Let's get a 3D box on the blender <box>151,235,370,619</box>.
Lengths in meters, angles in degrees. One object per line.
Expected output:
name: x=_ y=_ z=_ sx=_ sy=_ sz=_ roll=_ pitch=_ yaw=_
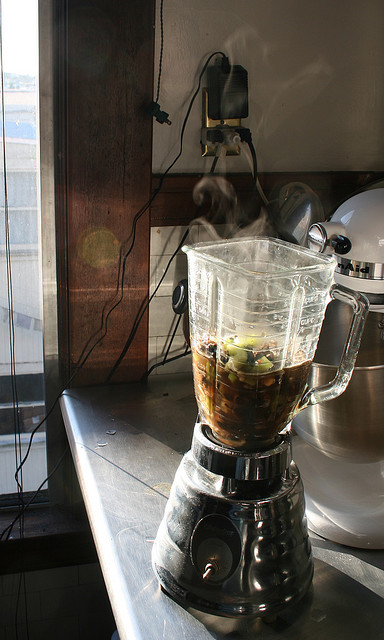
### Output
blender: x=0.089 y=0.091 z=0.617 sx=0.313 sy=0.338 sz=0.277 roll=-5 pitch=24 yaw=-21
